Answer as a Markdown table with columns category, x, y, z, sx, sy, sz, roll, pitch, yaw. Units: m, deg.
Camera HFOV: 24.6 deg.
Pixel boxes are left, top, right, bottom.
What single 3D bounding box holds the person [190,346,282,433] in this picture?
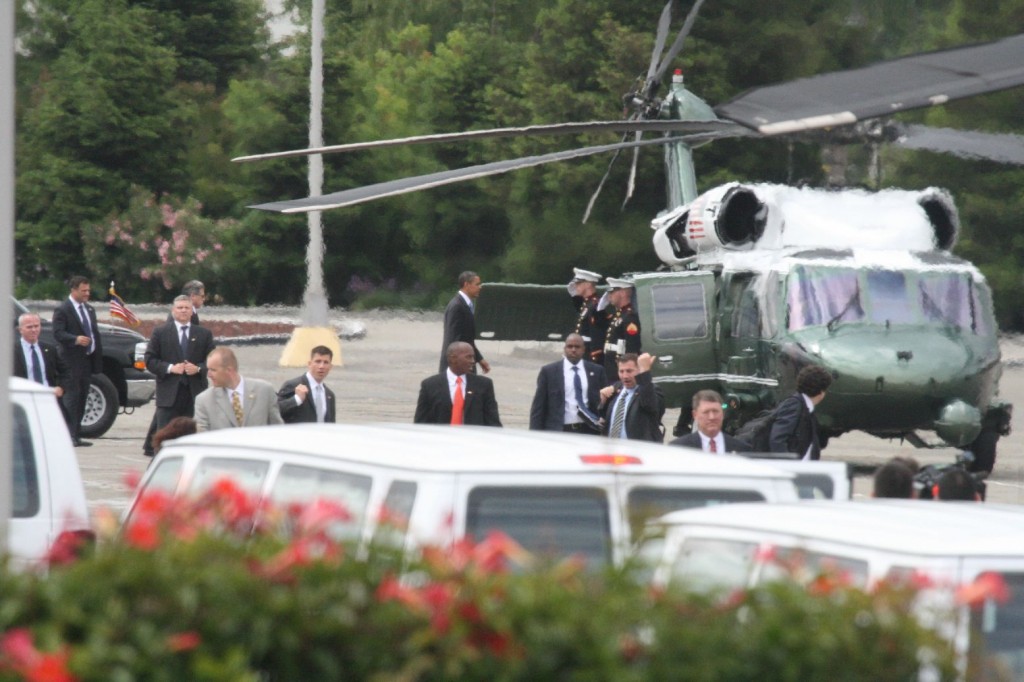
| category | x | y | z | sx | sy | sz | roll | pitch | yaw |
| --- | --- | --- | --- | --- | --- | --- | --- | --- | --- |
| person | -5.659 | 0.963 | 49.055 | 1.360 | 1.926 | 1.131 | 0 | -1 | -1 |

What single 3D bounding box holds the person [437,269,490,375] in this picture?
| category | x | y | z | sx | sy | sz | roll | pitch | yaw |
| --- | --- | --- | --- | --- | --- | --- | --- | --- | --- |
| person | -1.159 | -0.434 | 51.927 | 1.060 | 2.200 | 1.069 | -4 | 1 | 25 |

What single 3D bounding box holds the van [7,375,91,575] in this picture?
| category | x | y | z | sx | sy | sz | roll | pitch | yaw |
| --- | --- | --- | --- | --- | --- | --- | --- | --- | --- |
| van | -8.858 | 2.329 | 45.211 | 1.310 | 3.078 | 1.071 | 0 | 7 | -7 |

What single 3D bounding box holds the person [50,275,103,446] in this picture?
| category | x | y | z | sx | sy | sz | roll | pitch | yaw |
| --- | --- | --- | --- | --- | --- | --- | --- | --- | --- |
| person | -9.718 | 0.484 | 53.662 | 1.181 | 3.671 | 1.512 | 3 | 8 | 15 |

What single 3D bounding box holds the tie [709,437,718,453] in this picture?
| category | x | y | z | sx | sy | sz | roll | pitch | yaw |
| --- | --- | --- | --- | --- | --- | --- | --- | --- | --- |
| tie | 4.066 | 2.096 | 47.420 | 0.136 | 0.402 | 0.070 | -7 | 9 | 0 |

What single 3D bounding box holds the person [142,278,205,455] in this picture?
| category | x | y | z | sx | sy | sz | roll | pitch | yaw |
| --- | --- | --- | --- | --- | --- | --- | --- | --- | --- |
| person | -7.154 | 0.799 | 51.496 | 1.594 | 3.288 | 1.089 | -1 | 15 | -11 |

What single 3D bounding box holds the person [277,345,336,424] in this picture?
| category | x | y | z | sx | sy | sz | roll | pitch | yaw |
| --- | --- | --- | --- | --- | --- | --- | --- | --- | --- |
| person | -4.274 | 0.992 | 49.373 | 1.057 | 1.829 | 1.039 | 1 | -1 | 6 |
